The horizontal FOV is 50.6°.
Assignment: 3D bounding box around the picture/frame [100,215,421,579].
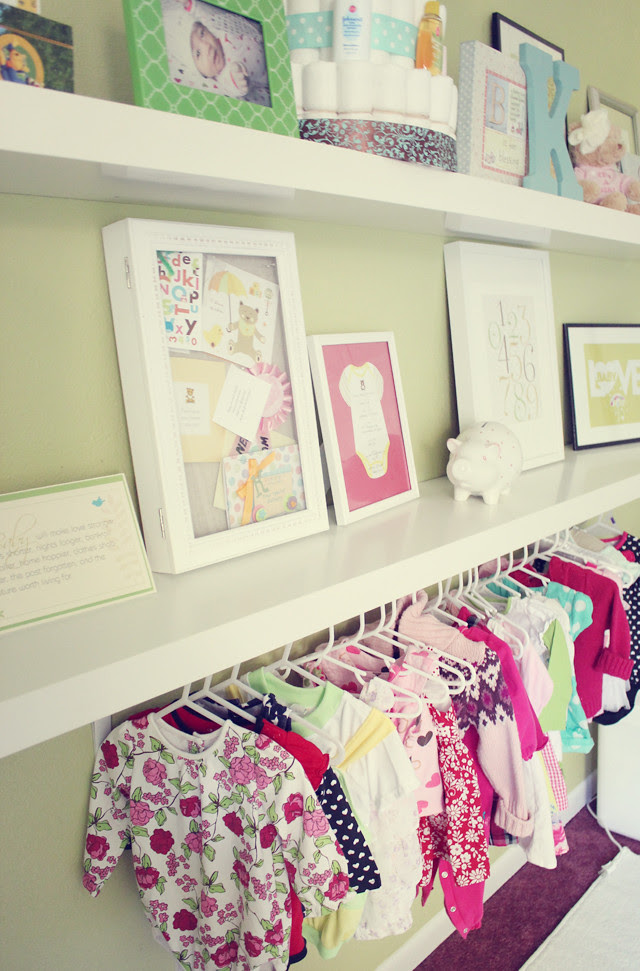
[{"bbox_3d":[-0.084,-0.108,0.868,0.055,0.399,0.445,-2,10,39],"label":"picture/frame"}]
